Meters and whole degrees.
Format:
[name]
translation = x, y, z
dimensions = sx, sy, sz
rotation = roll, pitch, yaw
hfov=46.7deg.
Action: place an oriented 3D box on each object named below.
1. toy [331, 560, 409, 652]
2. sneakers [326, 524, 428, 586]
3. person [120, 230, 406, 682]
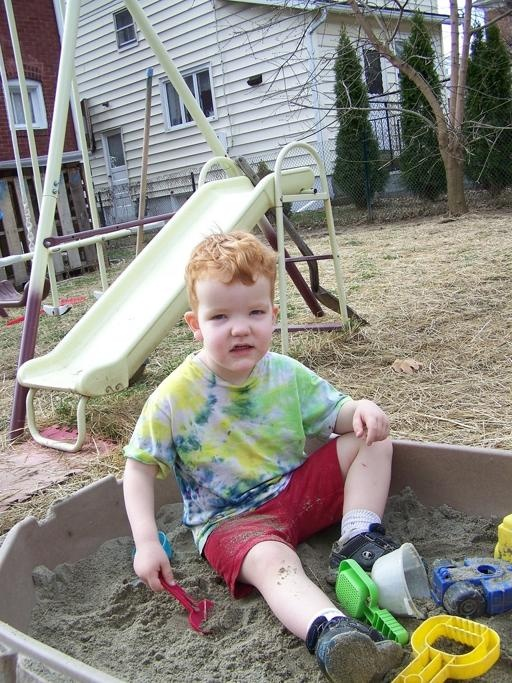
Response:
[toy]
translation = 0.221, 0.507, 1.130
dimensions = 0.059, 0.096, 0.189
rotation = -15, 29, -22
[sneakers]
translation = 0.227, 0.442, 1.242
dimensions = 0.246, 0.102, 0.097
rotation = -22, -25, 39
[person]
translation = 0.120, 0.114, 1.381
dimensions = 0.626, 0.738, 0.879
rotation = -19, 22, -35
